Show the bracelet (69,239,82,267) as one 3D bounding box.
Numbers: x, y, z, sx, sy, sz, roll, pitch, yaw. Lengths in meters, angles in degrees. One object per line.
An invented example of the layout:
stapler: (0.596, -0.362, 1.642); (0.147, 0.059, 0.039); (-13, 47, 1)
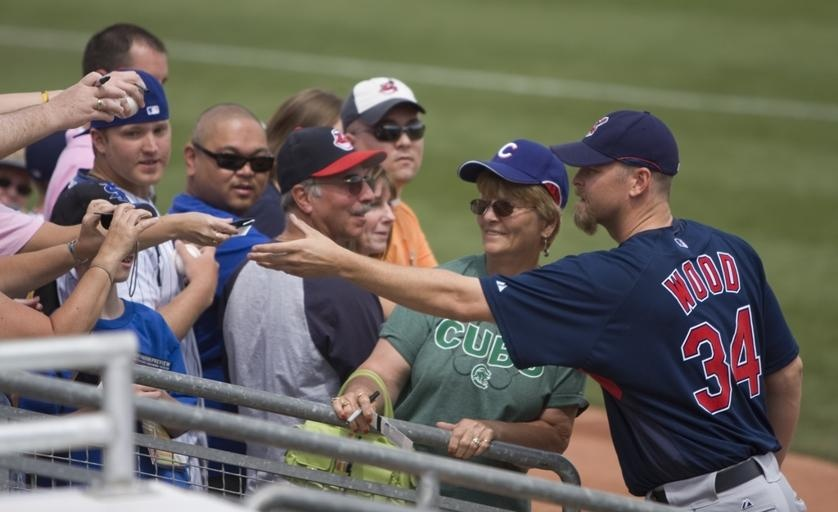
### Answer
bracelet: (-3.042, -0.011, 13.989); (0.074, 0.172, 0.139); (-3, 4, -21)

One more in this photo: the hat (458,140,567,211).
hat: (0.973, -0.716, 14.564); (0.889, 0.416, 0.606); (29, -3, -19)

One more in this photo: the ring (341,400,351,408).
ring: (-0.634, 1.277, 13.790); (0.066, 0.059, 0.021); (-1, 49, 5)

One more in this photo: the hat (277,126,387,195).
hat: (-0.773, -0.937, 14.727); (1.220, 0.526, 0.843); (-2, 15, 36)

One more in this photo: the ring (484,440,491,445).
ring: (0.605, 1.608, 13.841); (0.052, 0.019, 0.057); (1, 3, 1)

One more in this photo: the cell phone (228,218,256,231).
cell phone: (-1.574, -0.273, 14.193); (0.203, 0.110, 0.049); (-20, 5, 43)
